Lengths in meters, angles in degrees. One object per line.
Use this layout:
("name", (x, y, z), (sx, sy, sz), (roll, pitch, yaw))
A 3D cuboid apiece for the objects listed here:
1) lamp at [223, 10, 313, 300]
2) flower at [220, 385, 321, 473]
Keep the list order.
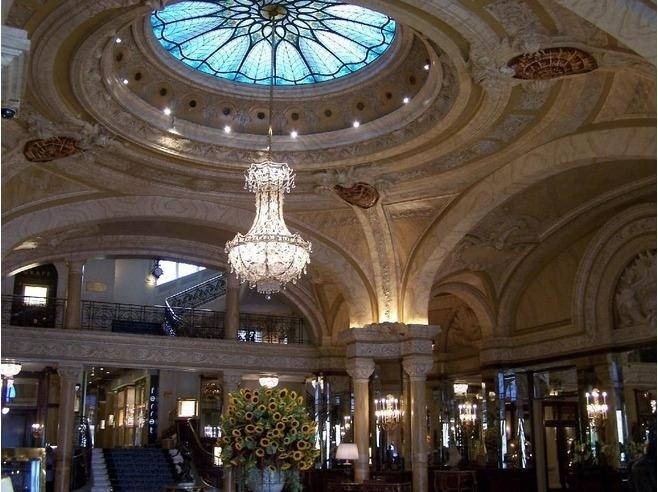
("lamp", (-1.002, -1.339, 9.539), (1.215, 4.707, 2.026), (1, -20, -7))
("flower", (-0.530, 1.942, 5.825), (0.806, 0.722, 0.855), (1, -25, 6))
